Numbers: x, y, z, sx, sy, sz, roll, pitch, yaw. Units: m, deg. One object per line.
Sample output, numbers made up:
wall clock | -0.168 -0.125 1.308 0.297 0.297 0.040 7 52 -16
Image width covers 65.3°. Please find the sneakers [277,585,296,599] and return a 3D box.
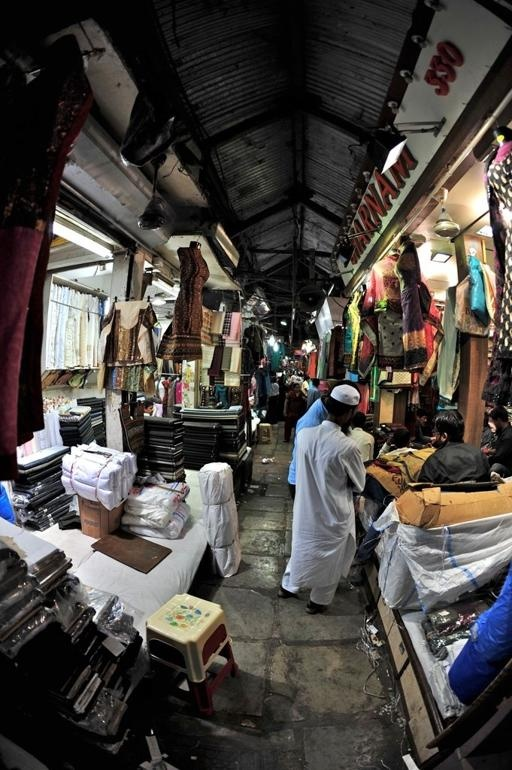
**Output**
sneakers | 0.270 1.887 3.630 0.162 0.107 0.106 1 -3 32

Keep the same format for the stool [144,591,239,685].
stool | -0.439 1.623 2.478 0.475 0.378 0.484 0 -4 29

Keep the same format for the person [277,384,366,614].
person | 0.571 0.986 3.247 0.579 1.990 0.281 2 7 9

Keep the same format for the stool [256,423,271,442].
stool | 0.218 1.307 10.722 0.352 0.485 0.437 1 7 0

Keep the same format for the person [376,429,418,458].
person | 1.547 0.660 4.408 0.365 0.270 0.890 6 -7 5

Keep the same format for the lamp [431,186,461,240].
lamp | 1.384 -1.237 2.891 0.151 0.307 0.405 5 8 26

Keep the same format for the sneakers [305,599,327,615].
sneakers | 0.517 1.927 3.472 0.176 0.162 0.087 0 5 -4

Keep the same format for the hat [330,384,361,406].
hat | 0.712 0.086 3.172 0.183 0.185 0.183 -2 8 -24

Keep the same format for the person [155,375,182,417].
person | -1.539 0.202 7.035 0.570 0.705 0.374 8 9 41
